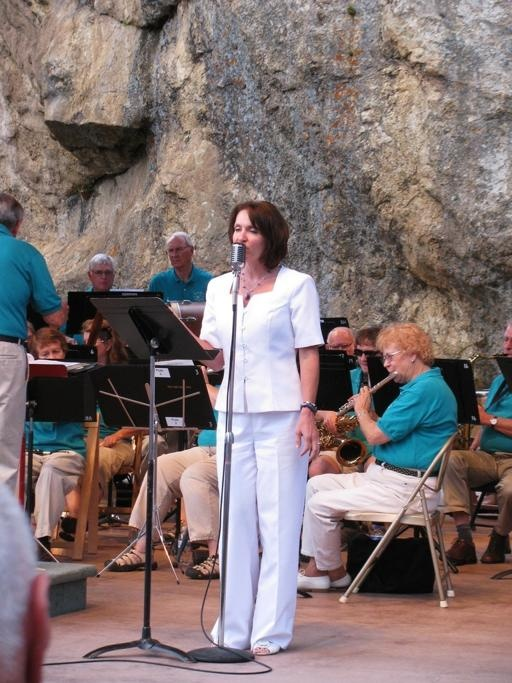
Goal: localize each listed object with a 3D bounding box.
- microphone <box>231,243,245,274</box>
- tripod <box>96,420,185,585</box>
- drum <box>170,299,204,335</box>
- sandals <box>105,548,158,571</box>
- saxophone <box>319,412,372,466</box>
[{"bbox_3d":[-0.059,-0.304,4.275,0.048,0.110,0.089,4,5,-5],"label":"microphone"},{"bbox_3d":[-0.704,1.012,7.158,0.526,0.871,0.451,-6,5,-35],"label":"tripod"},{"bbox_3d":[-0.383,-0.156,6.879,0.259,0.261,0.203,-1,13,-10],"label":"drum"},{"bbox_3d":[-0.699,1.246,6.422,0.115,0.157,0.357,-8,-17,40],"label":"sandals"},{"bbox_3d":[0.535,0.574,6.644,0.301,0.345,0.289,-2,5,-18],"label":"saxophone"}]
